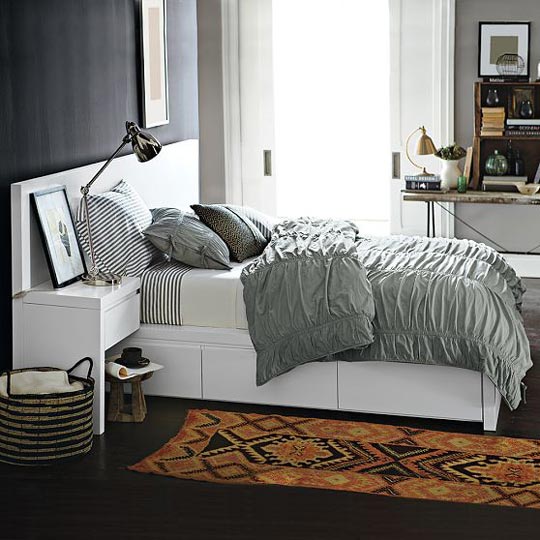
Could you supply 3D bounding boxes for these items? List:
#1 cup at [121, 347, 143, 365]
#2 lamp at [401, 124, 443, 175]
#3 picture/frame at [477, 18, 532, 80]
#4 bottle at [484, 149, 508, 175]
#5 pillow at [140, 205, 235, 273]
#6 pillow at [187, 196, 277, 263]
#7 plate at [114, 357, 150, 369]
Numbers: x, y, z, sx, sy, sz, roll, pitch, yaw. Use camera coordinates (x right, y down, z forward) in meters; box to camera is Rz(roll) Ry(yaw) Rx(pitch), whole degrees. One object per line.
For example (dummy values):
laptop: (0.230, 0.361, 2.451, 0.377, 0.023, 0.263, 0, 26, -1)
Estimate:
cup: (-0.651, 0.400, 2.720, 0.069, 0.042, 0.068, 1, 3, 0)
lamp: (1.341, -1.057, 5.095, 0.264, 0.373, 0.211, -6, 9, -6)
picture/frame: (2.123, -2.008, 5.193, 0.617, 0.680, 0.033, 1, 3, 9)
bottle: (1.960, -0.938, 5.002, 0.195, 0.258, 0.193, -1, 2, 0)
pillow: (-0.434, -0.156, 3.091, 0.293, 0.145, 0.479, 9, 22, -36)
pillow: (-0.215, -0.276, 3.448, 0.520, 0.130, 0.165, 12, -8, -39)
plate: (-0.634, 0.434, 2.712, 0.079, 0.010, 0.075, -6, 17, -38)
